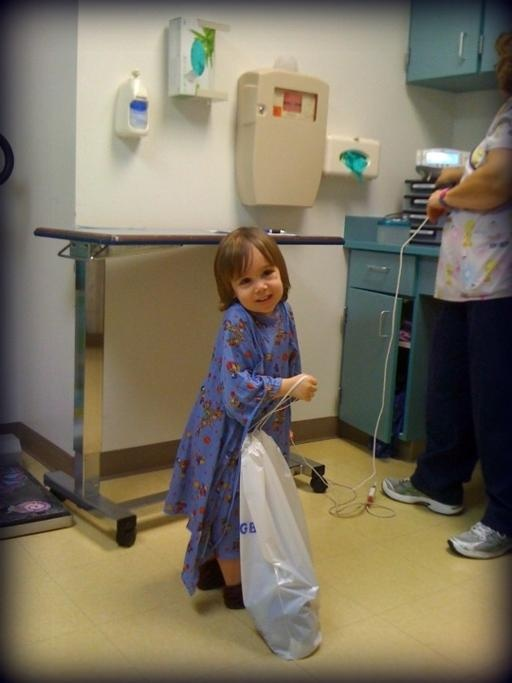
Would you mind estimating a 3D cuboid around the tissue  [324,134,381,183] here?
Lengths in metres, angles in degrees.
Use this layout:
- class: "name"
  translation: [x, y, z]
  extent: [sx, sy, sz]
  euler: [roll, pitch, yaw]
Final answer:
- class: "tissue "
  translation: [0.389, -0.729, 2.194]
  extent: [0.243, 0.164, 0.074]
  euler: [2, 2, -8]

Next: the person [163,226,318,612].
- class: "person"
  translation: [-0.035, 0.168, 1.129]
  extent: [0.296, 0.814, 0.290]
  euler: [1, 2, -10]

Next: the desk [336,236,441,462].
- class: "desk"
  translation: [0.568, 0.066, 2.278]
  extent: [0.378, 0.856, 0.438]
  euler: [10, 11, 43]
